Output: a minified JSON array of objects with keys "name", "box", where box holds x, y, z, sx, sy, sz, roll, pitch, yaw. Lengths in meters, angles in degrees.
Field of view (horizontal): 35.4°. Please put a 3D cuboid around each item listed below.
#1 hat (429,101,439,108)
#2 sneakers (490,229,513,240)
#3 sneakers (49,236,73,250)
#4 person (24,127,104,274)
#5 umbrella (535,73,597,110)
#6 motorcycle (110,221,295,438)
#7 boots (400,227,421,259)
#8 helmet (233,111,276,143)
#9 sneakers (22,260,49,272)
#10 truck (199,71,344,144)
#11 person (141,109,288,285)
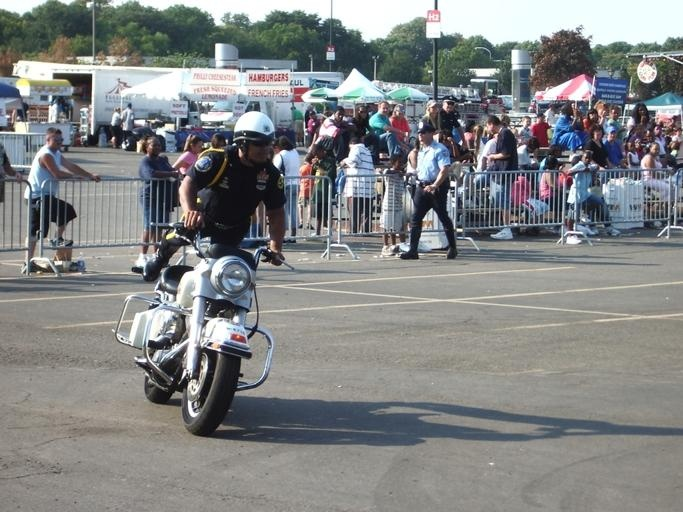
[{"name":"hat","box":[1.806,-3.094,21.660,0.217,0.085,0.299,-5,4,2]},{"name":"sneakers","box":[2.914,-0.399,19.576,0.425,0.270,0.164,2,6,7]},{"name":"sneakers","box":[-4.041,-0.177,15.284,0.412,0.165,0.145,-1,-3,12]},{"name":"person","box":[-4.083,-0.824,15.290,0.845,1.955,1.206,-2,10,-15]},{"name":"umbrella","box":[8.589,-6.113,39.632,2.765,1.225,2.754,0,8,29]},{"name":"motorcycle","box":[-1.126,0.572,8.624,0.660,1.607,1.249,-7,13,-39]},{"name":"boots","box":[1.074,-0.223,17.046,0.315,0.564,0.412,2,10,3]},{"name":"helmet","box":[-0.733,-1.067,8.934,0.252,0.244,0.308,7,13,-6]},{"name":"sneakers","box":[-4.264,0.149,15.023,0.188,0.121,0.289,3,-6,-24]},{"name":"truck","box":[-2.506,-7.074,46.644,7.232,3.539,3.345,0,5,-5]},{"name":"person","box":[-1.117,-0.467,9.547,0.980,1.139,2.081,16,-17,-23]}]
